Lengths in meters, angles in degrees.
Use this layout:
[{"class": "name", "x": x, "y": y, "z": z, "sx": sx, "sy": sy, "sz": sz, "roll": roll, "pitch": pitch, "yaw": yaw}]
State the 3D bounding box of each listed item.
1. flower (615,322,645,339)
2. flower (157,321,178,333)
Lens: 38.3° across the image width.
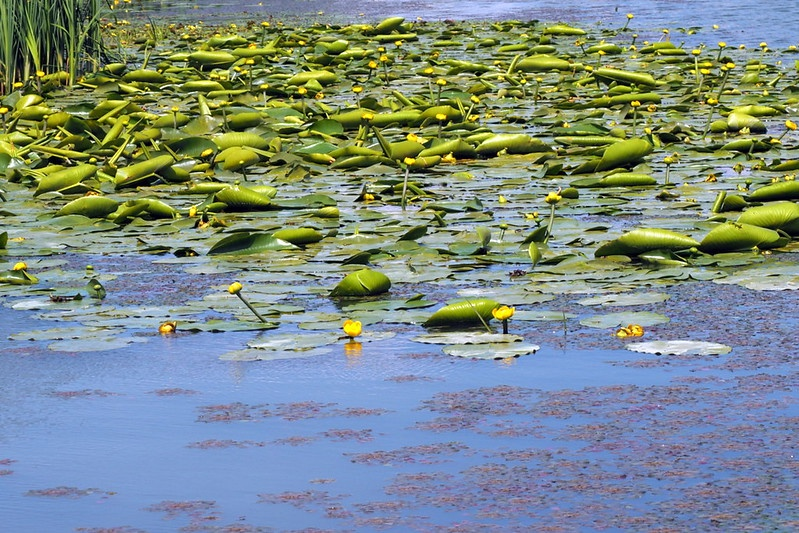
[{"class": "flower", "x": 1.045, "y": 0.295, "z": 5.241, "sx": 0.133, "sy": 0.056, "sz": 0.091, "roll": 0, "pitch": 8, "yaw": 4}, {"class": "flower", "x": -1.076, "y": 0.288, "z": 5.369, "sx": 0.086, "sy": 0.056, "sz": 0.048, "roll": -3, "pitch": 10, "yaw": -14}]
